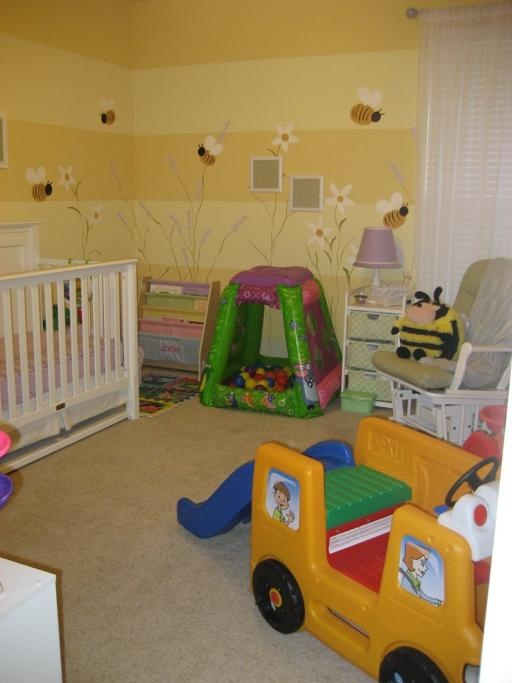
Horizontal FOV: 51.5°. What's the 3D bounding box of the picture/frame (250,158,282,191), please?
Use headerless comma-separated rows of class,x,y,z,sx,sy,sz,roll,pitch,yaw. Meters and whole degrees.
picture/frame,0.094,-1.374,4.343,0.262,0.258,0.027,10,16,20

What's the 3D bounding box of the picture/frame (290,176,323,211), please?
picture/frame,0.415,-1.187,4.222,0.268,0.265,0.019,7,14,21

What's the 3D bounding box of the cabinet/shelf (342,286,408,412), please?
cabinet/shelf,0.870,0.047,3.848,0.450,0.731,0.413,4,8,14

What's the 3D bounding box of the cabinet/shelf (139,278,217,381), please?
cabinet/shelf,-0.674,-0.133,4.537,0.706,0.655,0.422,8,26,26

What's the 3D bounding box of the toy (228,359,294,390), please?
toy,0.047,0.266,4.015,0.481,0.124,0.733,4,12,11

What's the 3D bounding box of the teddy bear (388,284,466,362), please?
teddy bear,1.057,-0.098,3.261,0.297,0.454,0.409,-1,10,-42

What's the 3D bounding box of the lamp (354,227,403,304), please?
lamp,0.899,-0.586,3.913,0.320,0.510,0.329,1,27,12
